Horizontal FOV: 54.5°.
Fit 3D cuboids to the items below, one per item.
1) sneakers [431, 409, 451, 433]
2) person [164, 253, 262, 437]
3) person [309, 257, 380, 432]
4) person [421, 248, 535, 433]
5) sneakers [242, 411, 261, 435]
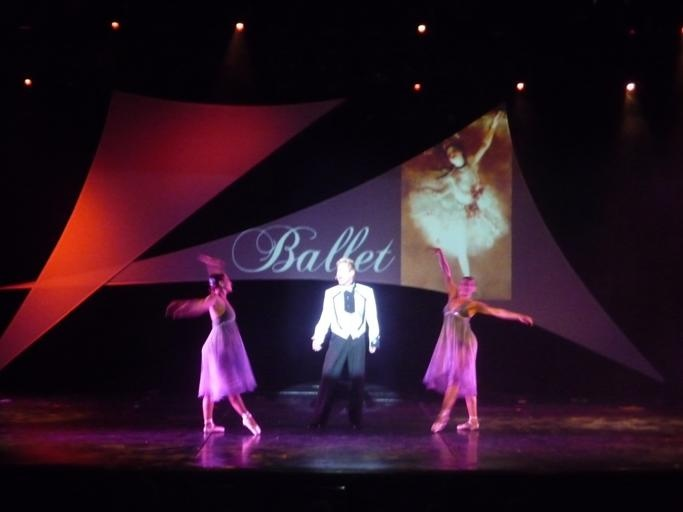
[{"bbox_3d":[1.082,1.807,7.186,0.147,0.265,0.070,34,-4,28],"label":"sneakers"},{"bbox_3d":[-1.327,0.974,7.078,0.924,1.869,0.756,-1,13,-5],"label":"person"},{"bbox_3d":[0.043,0.947,7.226,0.709,1.766,0.516,0,13,0],"label":"person"},{"bbox_3d":[1.308,1.014,7.223,0.793,1.737,0.882,5,14,22],"label":"person"},{"bbox_3d":[-0.950,1.766,7.072,0.191,0.244,0.311,-1,13,-7],"label":"sneakers"}]
